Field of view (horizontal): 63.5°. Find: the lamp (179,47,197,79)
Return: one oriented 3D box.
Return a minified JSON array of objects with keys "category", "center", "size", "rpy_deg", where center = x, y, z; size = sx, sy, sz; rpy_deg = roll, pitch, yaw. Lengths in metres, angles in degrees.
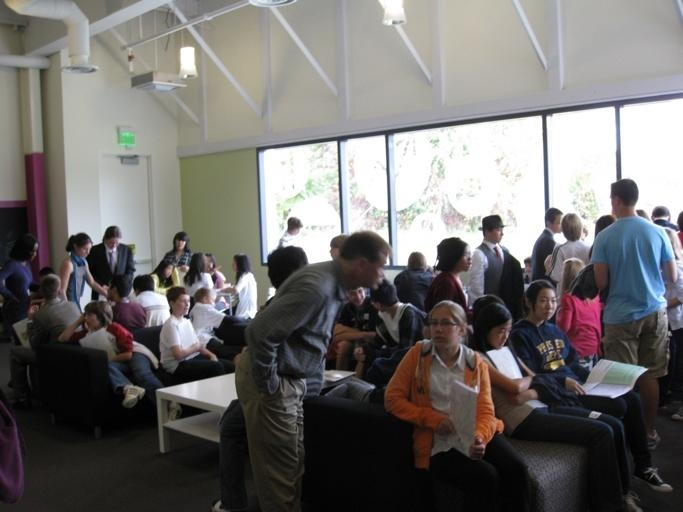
[{"category":"lamp","center":[-2.496,-3.167,8.984],"size":[0.242,0.512,0.346],"rpy_deg":[0,3,-17]}]

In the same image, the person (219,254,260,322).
[{"category":"person","center":[-1.414,0.561,7.372],"size":[0.545,1.144,0.443],"rpy_deg":[3,3,-8]}]

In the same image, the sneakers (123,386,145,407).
[{"category":"sneakers","center":[-1.836,1.235,4.905],"size":[0.216,0.164,0.176],"rpy_deg":[-1,4,-33]}]

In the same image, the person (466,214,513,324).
[{"category":"person","center":[1.564,0.231,5.648],"size":[0.464,1.403,0.336],"rpy_deg":[-25,29,-32]}]

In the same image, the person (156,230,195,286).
[{"category":"person","center":[-2.391,0.324,7.985],"size":[0.390,1.334,0.411],"rpy_deg":[5,-3,-11]}]

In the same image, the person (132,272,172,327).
[{"category":"person","center":[-2.083,0.496,6.062],"size":[0.309,0.838,0.444],"rpy_deg":[-12,14,-32]}]

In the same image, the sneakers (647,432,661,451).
[{"category":"sneakers","center":[2.461,1.460,4.344],"size":[0.071,0.080,0.191],"rpy_deg":[-4,-6,31]}]

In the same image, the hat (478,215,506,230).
[{"category":"hat","center":[1.471,-0.323,5.449],"size":[0.171,0.100,0.153],"rpy_deg":[-10,-2,34]}]

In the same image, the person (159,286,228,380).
[{"category":"person","center":[-1.392,0.900,5.404],"size":[0.719,1.240,0.478],"rpy_deg":[-3,-2,10]}]

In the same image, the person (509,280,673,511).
[{"category":"person","center":[1.610,0.849,3.647],"size":[0.490,1.290,0.956],"rpy_deg":[-14,11,-33]}]

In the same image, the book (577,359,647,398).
[{"category":"book","center":[1.832,0.844,3.746],"size":[0.344,0.414,0.089],"rpy_deg":[5,25,-5]}]
